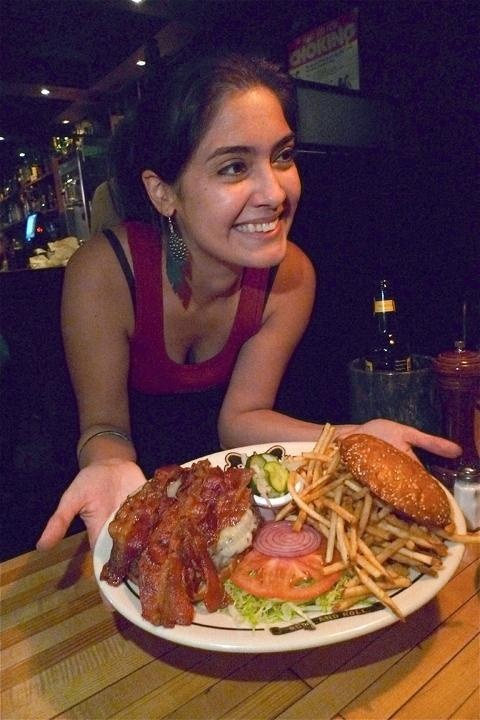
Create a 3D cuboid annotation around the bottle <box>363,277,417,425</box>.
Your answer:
[{"bbox_3d":[0.737,0.035,2.607,0.260,0.865,0.316,-9,13,-43],"label":"bottle"}]

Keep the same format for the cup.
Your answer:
[{"bbox_3d":[0.714,0.219,2.485,0.410,0.395,0.365,0,1,16],"label":"cup"}]

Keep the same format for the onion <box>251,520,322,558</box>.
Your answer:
[{"bbox_3d":[0.089,0.352,1.083,0.118,0.038,0.091,2,3,27],"label":"onion"}]

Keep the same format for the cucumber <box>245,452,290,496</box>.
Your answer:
[{"bbox_3d":[0.072,0.285,1.377,0.113,0.098,0.128,1,4,-7],"label":"cucumber"}]

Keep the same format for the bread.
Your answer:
[{"bbox_3d":[0.314,0.202,1.047,0.133,0.195,0.131,-8,12,-15],"label":"bread"}]
